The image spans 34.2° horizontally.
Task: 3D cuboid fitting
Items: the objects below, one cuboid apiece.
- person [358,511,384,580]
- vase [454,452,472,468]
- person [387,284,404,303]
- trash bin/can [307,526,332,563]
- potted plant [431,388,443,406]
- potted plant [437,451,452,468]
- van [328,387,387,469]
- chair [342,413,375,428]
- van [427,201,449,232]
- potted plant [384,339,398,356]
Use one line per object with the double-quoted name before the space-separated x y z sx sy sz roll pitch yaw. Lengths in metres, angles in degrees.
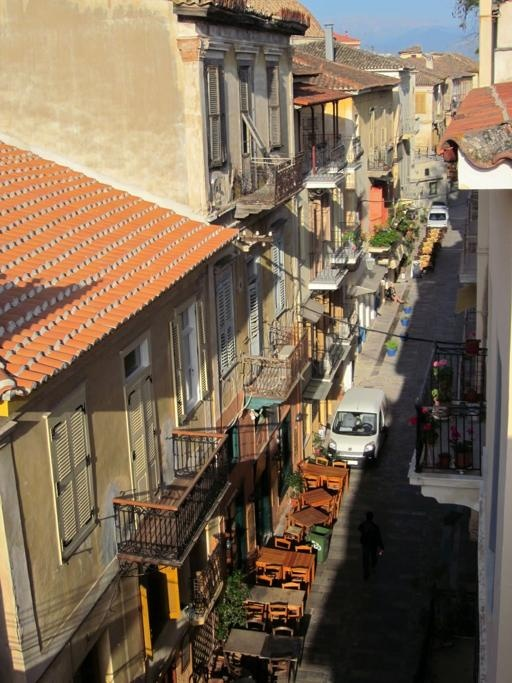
"person" 2.852 4.962 20.587 0.576 1.800 1.188 1 12 9
"vase" 3.304 1.912 13.267 0.191 0.288 0.223 -4 3 -5
"person" 8.159 -2.777 48.925 0.887 0.947 1.890 1 14 5
"trash bin/can" 1.658 5.205 21.234 0.621 1.072 0.637 0 5 7
"potted plant" 3.497 1.085 16.080 0.284 0.513 0.246 -1 -5 17
"potted plant" 3.041 1.944 13.423 0.213 0.284 0.204 3 13 15
"van" 3.474 2.837 27.832 1.281 1.346 2.694 -1 18 15
"chair" 3.483 2.700 27.918 0.460 0.327 0.761 3 6 16
"van" 15.106 -10.110 68.786 1.386 1.922 4.925 -1 22 13
"potted plant" 6.404 0.384 38.958 0.550 0.796 0.642 -3 7 -7
